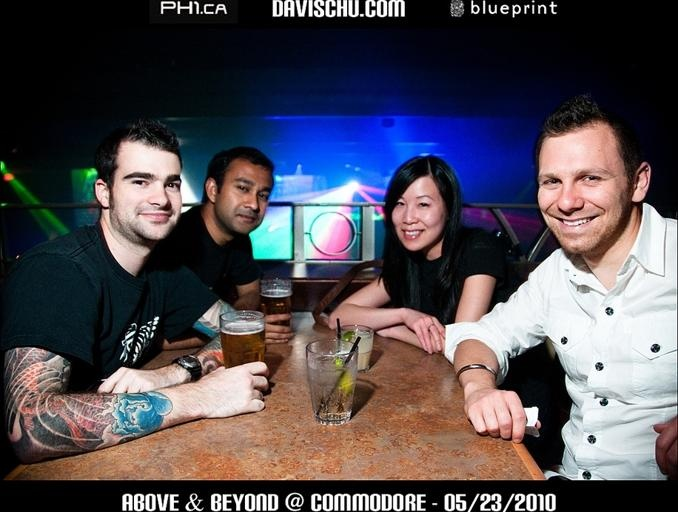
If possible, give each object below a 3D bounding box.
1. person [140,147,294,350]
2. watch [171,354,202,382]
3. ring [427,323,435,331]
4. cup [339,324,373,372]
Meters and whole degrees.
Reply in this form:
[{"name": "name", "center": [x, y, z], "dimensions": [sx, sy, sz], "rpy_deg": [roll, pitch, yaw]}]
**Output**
[{"name": "person", "center": [-0.663, -0.221, 3.180], "dimensions": [1.131, 1.133, 0.886], "rpy_deg": [11, 13, 33]}, {"name": "watch", "center": [-0.558, 0.411, 1.877], "dimensions": [0.102, 0.089, 0.084], "rpy_deg": [15, 12, 19]}, {"name": "ring", "center": [0.414, 0.316, 2.230], "dimensions": [0.024, 0.010, 0.031], "rpy_deg": [-15, 10, -32]}, {"name": "cup", "center": [0.061, 0.364, 1.957], "dimensions": [0.155, 0.157, 0.153], "rpy_deg": [0, 0, 0]}]
